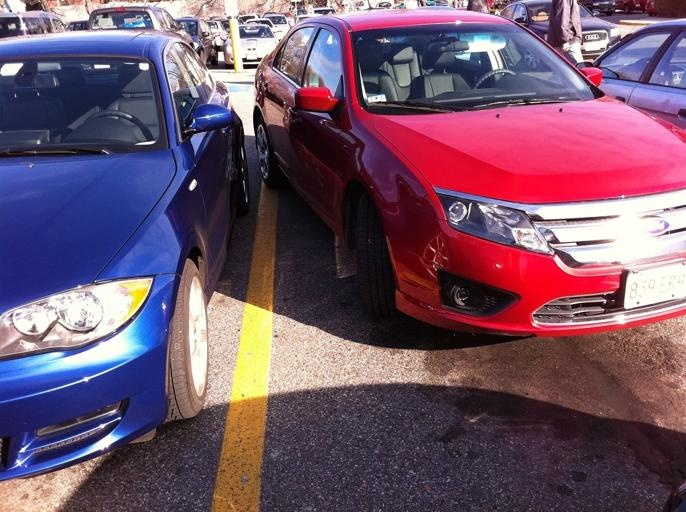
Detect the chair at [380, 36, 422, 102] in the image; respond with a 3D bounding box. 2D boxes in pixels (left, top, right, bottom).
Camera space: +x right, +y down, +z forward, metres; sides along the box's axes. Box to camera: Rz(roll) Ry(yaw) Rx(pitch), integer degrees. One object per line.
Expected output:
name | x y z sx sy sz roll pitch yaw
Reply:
chair | 0.449 -1.312 3.487 0.289 0.436 0.386 -11 65 7
